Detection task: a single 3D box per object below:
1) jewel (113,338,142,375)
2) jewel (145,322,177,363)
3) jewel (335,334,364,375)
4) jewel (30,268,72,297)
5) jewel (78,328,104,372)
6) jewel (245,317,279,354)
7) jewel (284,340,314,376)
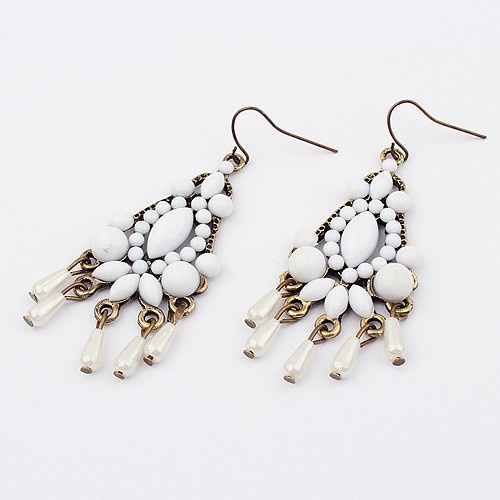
[{"bbox_3d":[-0.281,0.250,1.452,0.044,0.046,0.092,22,55,3],"label":"jewel"},{"bbox_3d":[-0.209,0.222,1.519,0.048,0.052,0.103,-11,40,49],"label":"jewel"},{"bbox_3d":[0.222,0.256,1.459,0.052,0.055,0.126,14,38,21],"label":"jewel"},{"bbox_3d":[-0.501,0.085,1.570,0.101,0.046,0.051,-39,84,-31],"label":"jewel"},{"bbox_3d":[-0.369,0.240,1.465,0.045,0.043,0.097,12,58,-2],"label":"jewel"},{"bbox_3d":[0.019,0.221,1.494,0.052,0.052,0.113,13,31,20],"label":"jewel"},{"bbox_3d":[0.112,0.253,1.475,0.040,0.041,0.087,25,50,13],"label":"jewel"}]
